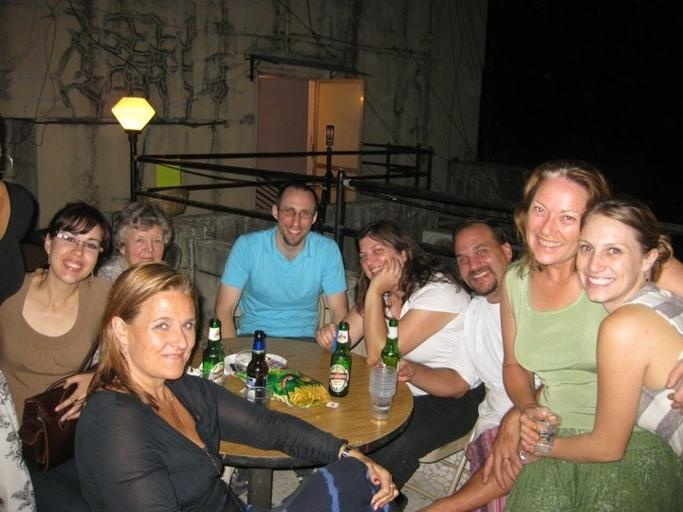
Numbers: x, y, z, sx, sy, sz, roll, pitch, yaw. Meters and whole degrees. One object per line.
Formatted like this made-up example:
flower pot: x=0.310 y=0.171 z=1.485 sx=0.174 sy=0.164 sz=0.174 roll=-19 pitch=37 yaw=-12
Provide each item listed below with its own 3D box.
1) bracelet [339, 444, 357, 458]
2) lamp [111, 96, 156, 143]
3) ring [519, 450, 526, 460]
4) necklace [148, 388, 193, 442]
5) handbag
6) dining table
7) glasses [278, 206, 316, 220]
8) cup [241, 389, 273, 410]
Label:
bracelet: x=0.027 y=0.720 z=1.994 sx=0.053 sy=0.021 sz=0.041 roll=-1 pitch=2 yaw=35
lamp: x=-2.398 y=-1.632 z=6.158 sx=0.520 sy=0.399 sz=0.531 roll=4 pitch=4 yaw=40
ring: x=0.725 y=0.799 z=2.157 sx=0.027 sy=0.035 sz=0.026 roll=-16 pitch=12 yaw=3
necklace: x=-0.598 y=0.558 z=1.868 sx=0.041 sy=0.102 sz=0.171 roll=-15 pitch=-12 yaw=11
handbag: x=-1.077 y=0.626 z=2.040 sx=0.146 sy=0.320 sz=0.384 roll=0 pitch=16 yaw=17
dining table: x=-0.048 y=0.684 z=2.456 sx=0.874 sy=0.605 sz=0.893 roll=8 pitch=-5 yaw=4
glasses: x=-0.280 y=-0.269 z=3.368 sx=0.224 sy=0.067 sz=0.084 roll=3 pitch=3 yaw=-7
cup: x=-0.354 y=0.586 z=2.257 sx=0.094 sy=0.119 sz=0.076 roll=2 pitch=1 yaw=3
